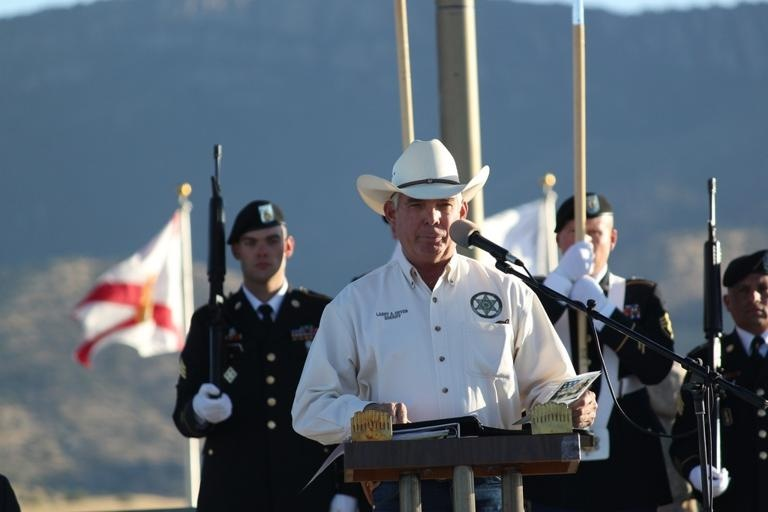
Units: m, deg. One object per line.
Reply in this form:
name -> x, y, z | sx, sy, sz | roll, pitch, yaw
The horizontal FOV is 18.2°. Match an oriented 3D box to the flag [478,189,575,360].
flag -> 1.878, 0.075, 24.361 | 1.402, 1.411, 1.191 | 9, -19, -32

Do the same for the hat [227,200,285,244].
hat -> -1.229, -0.366, 23.186 | 0.379, 0.203, 0.499 | 0, -31, -48

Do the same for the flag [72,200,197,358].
flag -> -2.432, 0.260, 23.994 | 1.535, 1.889, 0.214 | -4, -2, -5
